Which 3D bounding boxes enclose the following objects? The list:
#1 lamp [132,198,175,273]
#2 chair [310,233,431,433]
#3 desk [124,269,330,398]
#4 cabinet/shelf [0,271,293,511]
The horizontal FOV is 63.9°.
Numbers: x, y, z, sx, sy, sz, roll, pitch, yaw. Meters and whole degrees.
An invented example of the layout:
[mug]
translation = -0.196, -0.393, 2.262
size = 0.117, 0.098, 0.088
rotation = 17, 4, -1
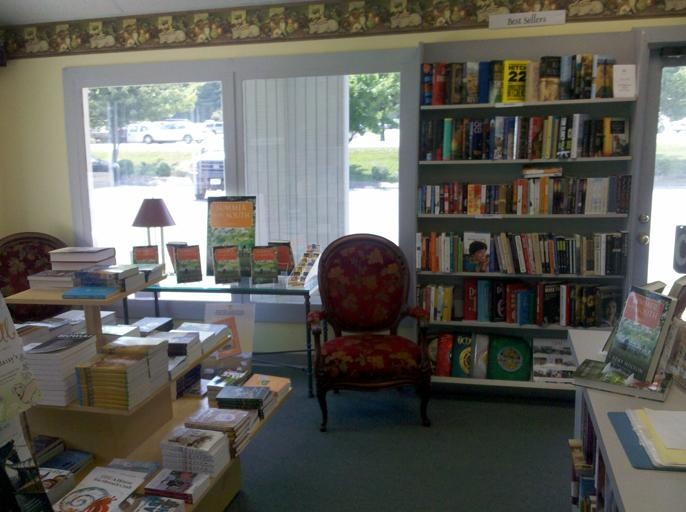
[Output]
[lamp]
translation = -1.532, -0.194, 4.503
size = 0.364, 0.533, 0.357
rotation = 2, 9, 12
[chair]
translation = 0.168, 0.500, 3.977
size = 0.817, 1.237, 0.801
rotation = -3, 15, -2
[desk]
translation = -0.877, 0.581, 4.180
size = 1.337, 0.664, 0.384
rotation = 2, 2, 7
[cabinet/shelf]
translation = -1.163, 0.809, 3.323
size = 1.357, 1.250, 1.503
rotation = 2, 5, 13
